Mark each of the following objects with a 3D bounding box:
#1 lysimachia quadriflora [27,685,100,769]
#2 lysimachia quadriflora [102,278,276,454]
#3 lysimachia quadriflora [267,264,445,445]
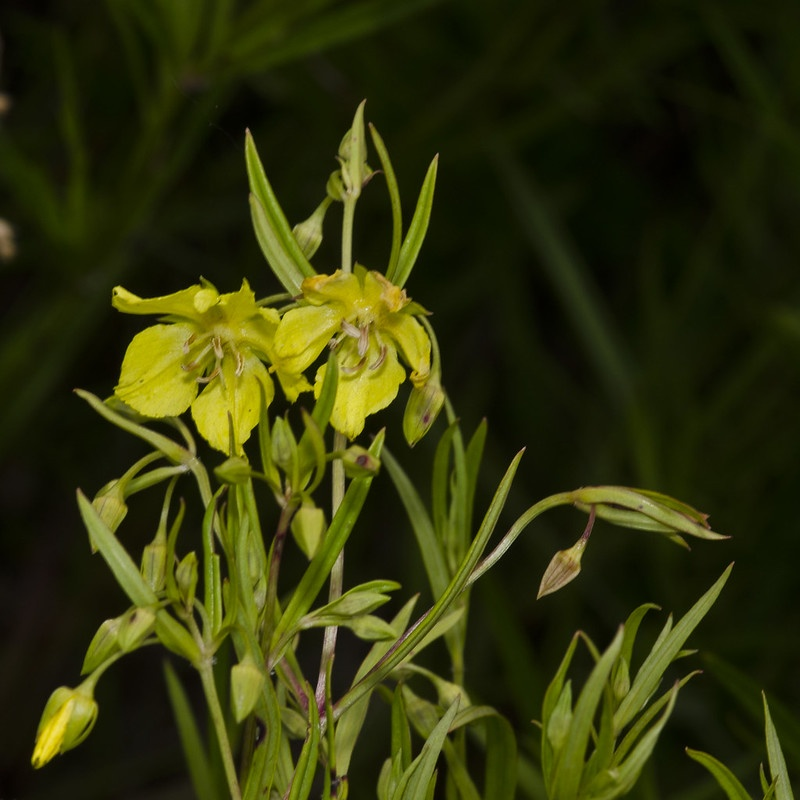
[{"bbox_3d":[-0.334,0.327,0.882,0.042,0.091,0.037,20,-45,2],"label":"lysimachia quadriflora"},{"bbox_3d":[-0.217,-0.040,0.928,0.186,0.137,0.149,2,-45,8],"label":"lysimachia quadriflora"},{"bbox_3d":[-0.048,-0.057,0.928,0.156,0.127,0.160,-15,-50,22],"label":"lysimachia quadriflora"}]
